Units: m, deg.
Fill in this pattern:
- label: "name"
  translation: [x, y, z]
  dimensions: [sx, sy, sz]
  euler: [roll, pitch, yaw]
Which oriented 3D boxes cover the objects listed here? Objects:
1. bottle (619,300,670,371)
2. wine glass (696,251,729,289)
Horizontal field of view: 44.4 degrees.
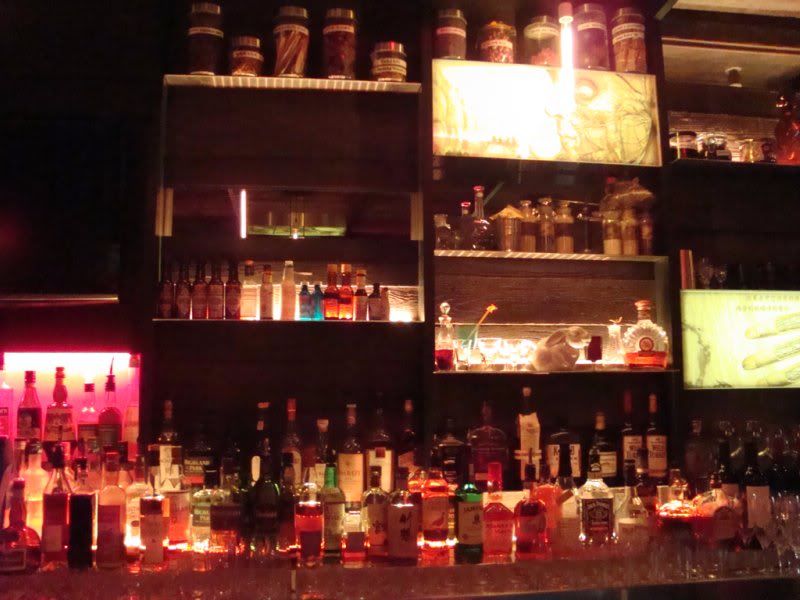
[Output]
- label: "bottle"
  translation: [1.257, 0.183, 5.045]
  dimensions: [0.229, 0.349, 0.159]
  euler: [0, -7, 0]
- label: "wine glass"
  translation: [1.604, -0.155, 5.089]
  dimensions: [0.150, 0.245, 0.164]
  euler: [2, -5, -45]
